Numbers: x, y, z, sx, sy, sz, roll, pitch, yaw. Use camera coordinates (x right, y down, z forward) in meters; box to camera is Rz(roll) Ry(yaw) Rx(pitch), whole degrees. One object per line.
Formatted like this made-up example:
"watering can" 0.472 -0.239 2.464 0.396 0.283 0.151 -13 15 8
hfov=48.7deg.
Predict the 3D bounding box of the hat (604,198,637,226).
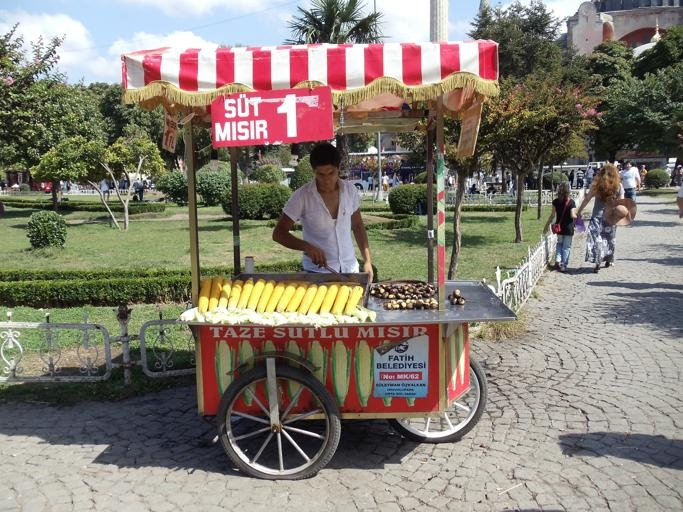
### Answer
"hat" 5.158 -0.804 14.091 0.527 0.496 0.464 3 8 26

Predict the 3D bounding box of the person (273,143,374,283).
"person" -0.206 -0.017 8.977 1.035 2.588 0.818 -8 18 -17

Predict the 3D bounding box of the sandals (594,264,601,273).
"sandals" 5.113 0.249 15.213 0.082 0.126 0.171 -11 -9 -15

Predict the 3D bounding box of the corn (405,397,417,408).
"corn" 0.721 1.547 7.992 0.085 0.099 0.080 1 6 8

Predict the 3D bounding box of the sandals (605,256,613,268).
"sandals" 5.461 0.122 15.546 0.109 0.200 0.174 3 16 21

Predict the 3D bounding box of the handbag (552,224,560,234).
"handbag" 4.336 -0.550 15.375 0.144 0.217 0.299 1 8 15
